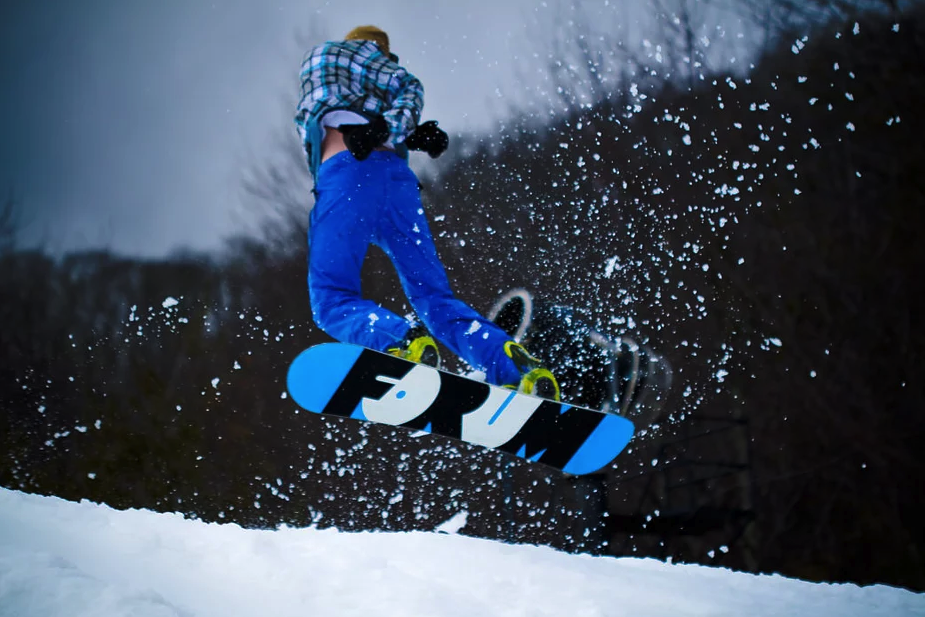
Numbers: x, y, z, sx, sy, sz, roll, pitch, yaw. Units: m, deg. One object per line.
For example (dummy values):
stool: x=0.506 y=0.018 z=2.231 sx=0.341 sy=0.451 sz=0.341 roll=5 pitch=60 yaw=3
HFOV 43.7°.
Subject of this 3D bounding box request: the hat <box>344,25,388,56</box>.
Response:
hat: x=-1.028 y=-2.840 z=12.411 sx=0.343 sy=0.347 sz=0.339 roll=-16 pitch=-5 yaw=29
